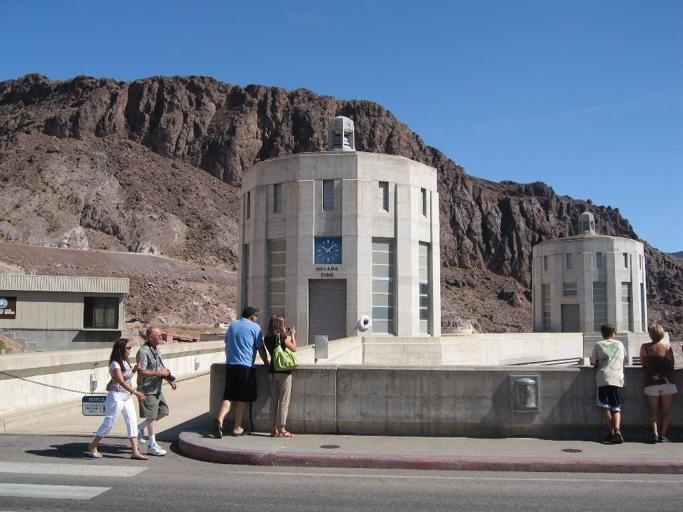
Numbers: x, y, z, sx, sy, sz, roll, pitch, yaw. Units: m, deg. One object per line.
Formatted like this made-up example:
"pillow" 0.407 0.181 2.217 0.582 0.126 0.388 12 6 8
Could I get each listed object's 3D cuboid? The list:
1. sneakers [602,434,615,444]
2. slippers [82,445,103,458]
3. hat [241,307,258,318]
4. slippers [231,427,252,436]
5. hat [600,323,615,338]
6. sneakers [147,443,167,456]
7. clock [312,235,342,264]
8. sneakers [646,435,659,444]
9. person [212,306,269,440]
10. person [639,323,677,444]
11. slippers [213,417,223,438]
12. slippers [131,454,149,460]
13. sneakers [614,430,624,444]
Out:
"sneakers" 6.245 4.234 23.461 0.207 0.249 0.579 1 -3 11
"slippers" -5.705 4.445 22.938 0.475 0.199 0.188 2 -8 20
"hat" -2.183 1.288 23.934 0.346 0.201 0.248 -29 37 -33
"slippers" -2.395 4.136 23.881 0.177 0.171 0.400 2 2 24
"hat" 6.271 1.740 23.764 0.320 0.397 0.393 5 9 12
"sneakers" -4.245 4.398 23.025 0.490 0.234 0.203 6 0 -5
"clock" -0.564 -0.243 40.875 1.118 1.206 0.092 -1 -13 0
"sneakers" 7.294 4.238 23.431 0.186 0.187 0.189 2 0 7
"person" -2.369 2.715 23.678 1.214 3.030 0.464 0 -7 -5
"person" 7.403 2.924 23.406 0.788 2.751 0.728 -3 -8 16
"slippers" -2.878 3.978 23.512 0.182 0.480 0.151 -1 1 24
"slippers" -4.573 4.508 22.745 0.333 0.214 0.143 -1 -2 1
"sneakers" 6.449 4.205 23.354 0.137 0.165 0.383 0 -28 14
